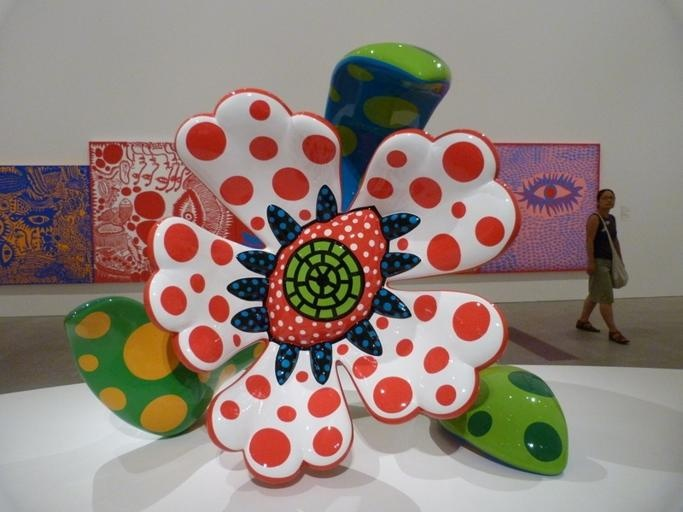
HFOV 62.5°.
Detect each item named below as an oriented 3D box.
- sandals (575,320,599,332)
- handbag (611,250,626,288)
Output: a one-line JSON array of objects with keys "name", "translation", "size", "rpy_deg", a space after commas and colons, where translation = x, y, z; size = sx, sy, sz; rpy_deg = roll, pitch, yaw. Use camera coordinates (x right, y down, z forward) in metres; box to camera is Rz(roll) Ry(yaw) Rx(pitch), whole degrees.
[{"name": "sandals", "translation": [1.224, 0.345, 2.806], "size": [0.107, 0.048, 0.041], "rpy_deg": [5, 10, 22]}, {"name": "handbag", "translation": [1.323, 0.065, 2.667], "size": [0.067, 0.169, 0.098], "rpy_deg": [7, 7, 40]}]
